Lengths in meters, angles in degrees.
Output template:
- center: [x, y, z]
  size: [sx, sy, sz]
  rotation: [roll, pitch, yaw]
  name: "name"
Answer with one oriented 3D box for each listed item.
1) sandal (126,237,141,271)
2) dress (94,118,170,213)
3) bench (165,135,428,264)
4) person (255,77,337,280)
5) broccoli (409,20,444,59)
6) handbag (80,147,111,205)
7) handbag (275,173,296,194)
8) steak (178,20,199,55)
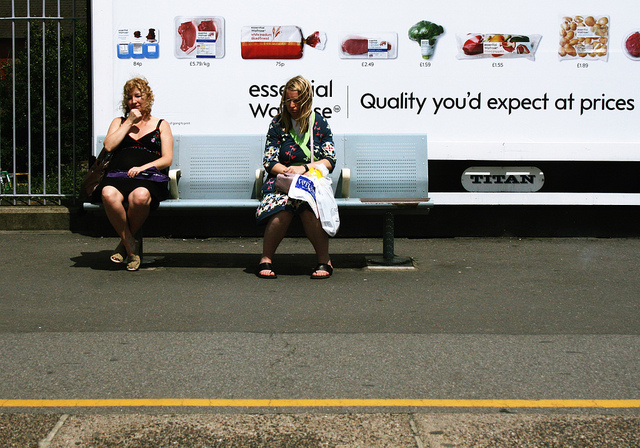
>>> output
- center: [-1.904, 0.307, 7.677]
  size: [0.116, 0.353, 0.141]
  rotation: [1, 4, 0]
  name: "sandal"
- center: [-1.895, -0.678, 7.789]
  size: [0.823, 1.207, 0.712]
  rotation: [-2, -21, -21]
  name: "dress"
- center: [-0.221, -0.283, 7.913]
  size: [2.711, 1.274, 0.957]
  rotation: [1, 12, 0]
  name: "bench"
- center: [-0.249, -0.451, 7.405]
  size: [0.800, 1.959, 0.626]
  rotation: [-1, 11, -1]
  name: "person"
- center: [1.345, -2.298, 9.392]
  size: [0.466, 0.462, 0.362]
  rotation: [6, 14, 37]
  name: "broccoli"
- center: [-2.285, -0.487, 7.660]
  size: [0.304, 0.596, 0.717]
  rotation: [-4, 12, -16]
  name: "handbag"
- center: [-0.352, -0.408, 7.284]
  size: [0.220, 0.208, 0.170]
  rotation: [4, -9, 19]
  name: "handbag"
- center: [-1.632, -2.324, 9.289]
  size: [0.265, 0.372, 0.160]
  rotation: [-6, 4, 4]
  name: "steak"
